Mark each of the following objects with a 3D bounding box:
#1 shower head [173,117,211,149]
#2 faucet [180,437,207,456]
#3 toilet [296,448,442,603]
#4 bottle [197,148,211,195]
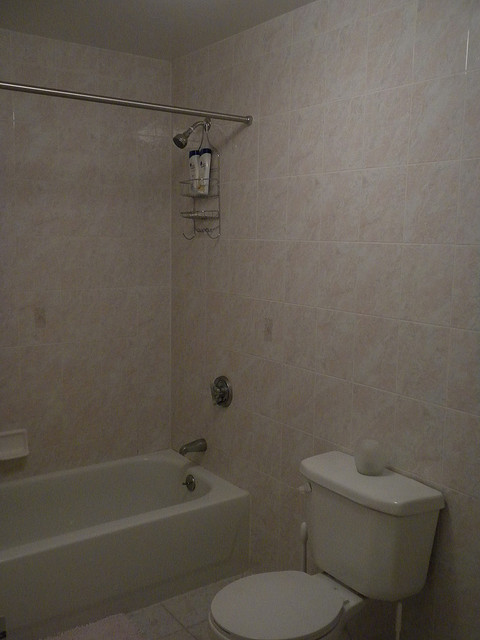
[{"bbox_3d":[-0.200,-0.814,2.309,0.141,0.157,0.444,-1,10,-1],"label":"shower head"},{"bbox_3d":[-0.234,0.648,2.644,0.110,0.093,0.063,-17,-11,-19],"label":"faucet"},{"bbox_3d":[0.371,0.635,1.631,0.207,0.353,0.379,4,3,-36],"label":"toilet"},{"bbox_3d":[-0.167,-0.689,2.445,0.075,0.199,0.039,4,8,36],"label":"bottle"}]
